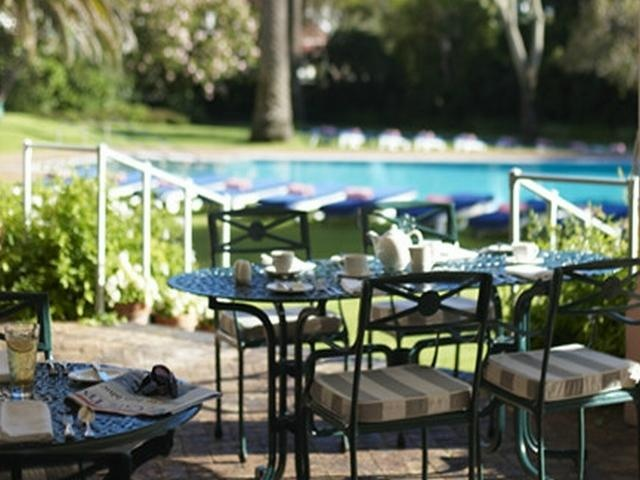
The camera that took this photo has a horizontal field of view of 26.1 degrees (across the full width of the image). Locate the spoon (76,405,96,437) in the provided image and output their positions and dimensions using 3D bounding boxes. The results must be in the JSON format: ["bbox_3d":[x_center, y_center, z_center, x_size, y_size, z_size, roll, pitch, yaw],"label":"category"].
[{"bbox_3d":[-1.227,0.950,7.220,0.050,0.035,0.193,4,30,-15],"label":"spoon"}]

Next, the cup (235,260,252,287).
[{"bbox_3d":[-0.462,0.196,8.204,0.078,0.163,0.140,0,4,-5],"label":"cup"}]

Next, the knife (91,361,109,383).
[{"bbox_3d":[-1.194,0.724,7.496,0.046,0.028,0.171,-1,33,-29],"label":"knife"}]

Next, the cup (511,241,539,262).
[{"bbox_3d":[1.275,0.075,8.614,0.123,0.111,0.115,1,1,0],"label":"cup"}]

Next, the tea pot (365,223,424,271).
[{"bbox_3d":[0.459,0.059,8.497,0.267,0.264,0.200,3,1,7],"label":"tea pot"}]

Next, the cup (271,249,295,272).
[{"bbox_3d":[-0.222,0.127,8.382,0.109,0.114,0.114,-2,5,0],"label":"cup"}]

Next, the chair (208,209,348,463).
[{"bbox_3d":[-0.302,0.582,8.886,0.740,1.609,0.885,-2,1,-28],"label":"chair"}]

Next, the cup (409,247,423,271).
[{"bbox_3d":[0.585,0.118,8.364,0.094,0.154,0.056,2,6,17],"label":"cup"}]

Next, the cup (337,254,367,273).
[{"bbox_3d":[0.207,0.147,8.351,0.113,0.099,0.099,0,7,4],"label":"cup"}]
